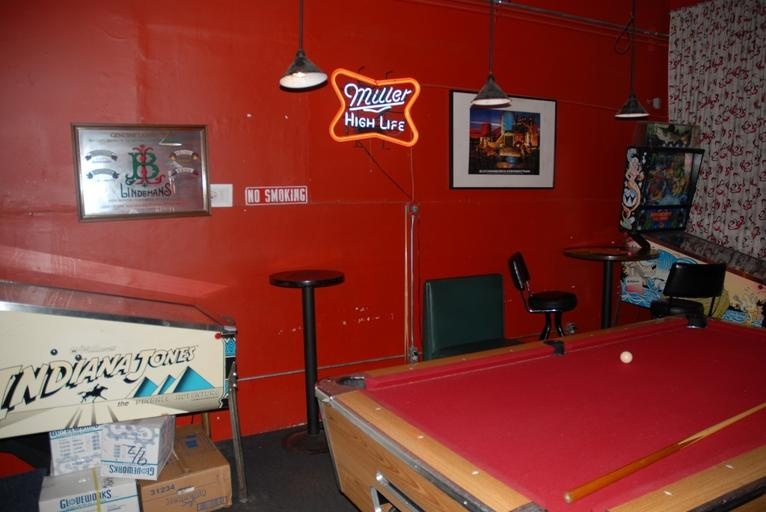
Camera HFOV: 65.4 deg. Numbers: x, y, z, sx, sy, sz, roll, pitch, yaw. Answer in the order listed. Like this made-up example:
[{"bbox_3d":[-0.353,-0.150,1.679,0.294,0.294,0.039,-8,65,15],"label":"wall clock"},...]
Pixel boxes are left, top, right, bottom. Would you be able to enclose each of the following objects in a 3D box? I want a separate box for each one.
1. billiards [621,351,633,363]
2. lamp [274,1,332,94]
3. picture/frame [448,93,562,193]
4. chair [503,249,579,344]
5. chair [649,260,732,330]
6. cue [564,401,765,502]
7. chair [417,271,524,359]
[{"bbox_3d":[1.474,0.608,3.590,0.065,0.063,0.039,5,11,13],"label":"billiards"},{"bbox_3d":[-0.598,-1.611,4.361,0.360,0.777,0.880,-3,7,-8],"label":"lamp"},{"bbox_3d":[1.159,-1.081,5.692,0.020,0.813,1.161,-12,16,-40],"label":"picture/frame"},{"bbox_3d":[1.472,0.443,5.455,0.618,0.896,0.462,0,11,18],"label":"chair"},{"bbox_3d":[2.774,0.428,5.525,0.539,0.705,0.613,4,3,0],"label":"chair"},{"bbox_3d":[1.345,0.955,2.847,1.535,0.060,0.059,-10,34,-21],"label":"cue"},{"bbox_3d":[0.656,0.483,5.009,0.904,0.844,0.621,-2,1,-25],"label":"chair"}]
